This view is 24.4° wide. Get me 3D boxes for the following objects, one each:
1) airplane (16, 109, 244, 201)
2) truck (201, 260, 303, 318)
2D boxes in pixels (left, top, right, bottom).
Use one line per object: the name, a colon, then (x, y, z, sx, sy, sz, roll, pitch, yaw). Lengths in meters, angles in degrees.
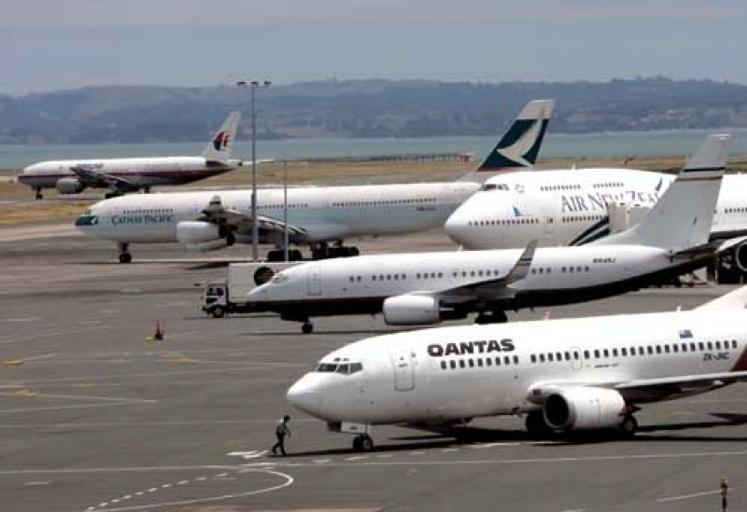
airplane: (-24.155, -8.991, 169.646, 28.187, 7.319, 23.918, 0, -2, 38)
truck: (-6.466, 2.306, 109.928, 7.745, 2.929, 3.299, -4, -12, 30)
